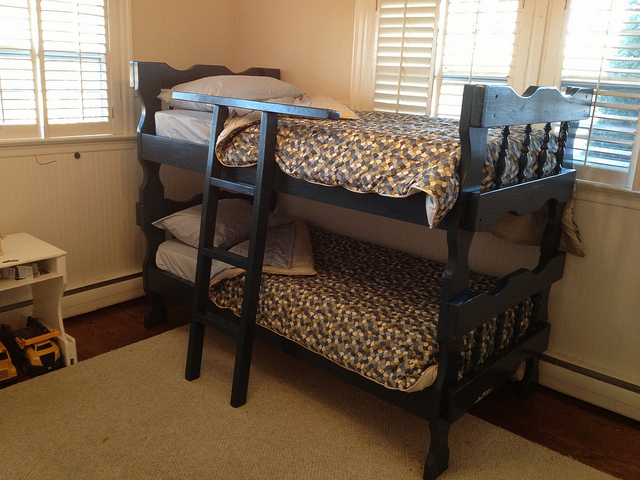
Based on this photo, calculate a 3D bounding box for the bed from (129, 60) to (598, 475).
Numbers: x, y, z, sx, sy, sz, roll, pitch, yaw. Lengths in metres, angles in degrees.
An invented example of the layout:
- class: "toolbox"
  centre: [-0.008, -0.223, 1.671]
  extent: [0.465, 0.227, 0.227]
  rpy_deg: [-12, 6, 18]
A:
- class: "bed"
  centre: [0.007, -0.159, 3.012]
  extent: [2.622, 1.690, 1.789]
  rpy_deg: [19, 27, 34]

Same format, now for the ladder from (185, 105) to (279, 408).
- class: "ladder"
  centre: [-0.475, 0.098, 2.595]
  extent: [0.382, 1.532, 0.074]
  rpy_deg: [16, 14, 32]
